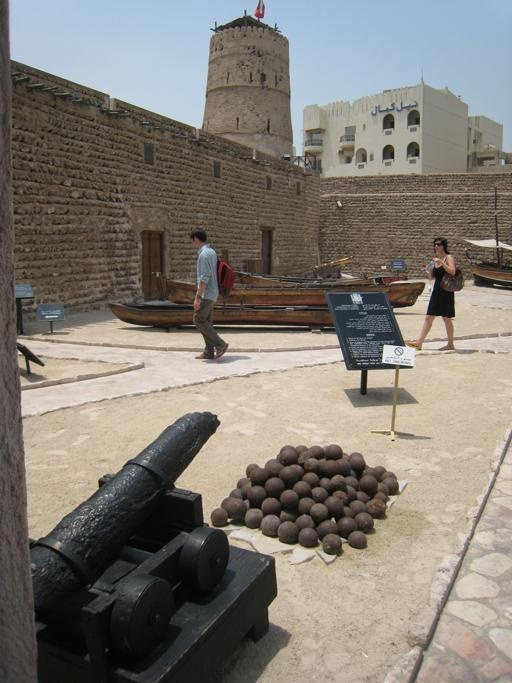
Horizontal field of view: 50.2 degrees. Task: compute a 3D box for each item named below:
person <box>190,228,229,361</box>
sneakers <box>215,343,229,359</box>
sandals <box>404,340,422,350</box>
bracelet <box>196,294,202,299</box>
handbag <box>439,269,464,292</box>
[{"bbox_3d":[-0.615,-0.607,7.437,0.463,1.762,0.953,0,6,-4],"label":"person"},{"bbox_3d":[-0.486,0.127,7.734,0.132,0.313,0.106,3,13,-16],"label":"sneakers"},{"bbox_3d":[1.837,0.035,6.344,0.301,0.119,0.108,10,-4,-31],"label":"sandals"},{"bbox_3d":[-0.749,-0.594,7.240,0.080,0.073,0.108,1,6,3],"label":"bracelet"},{"bbox_3d":[2.628,-0.830,7.382,0.317,0.337,0.187,14,26,29],"label":"handbag"}]
